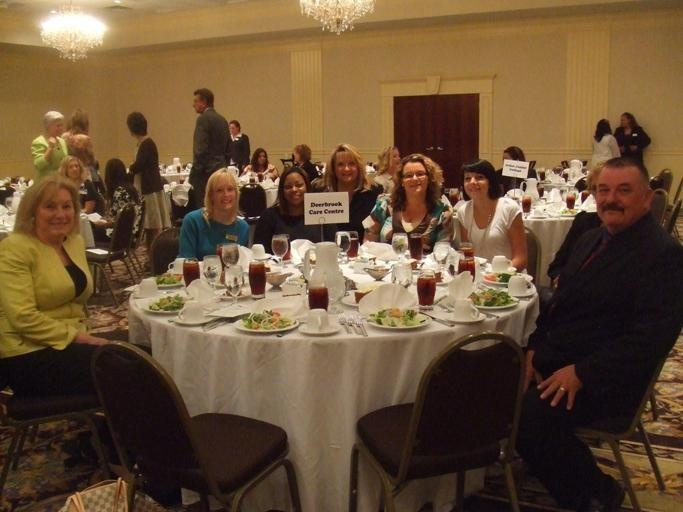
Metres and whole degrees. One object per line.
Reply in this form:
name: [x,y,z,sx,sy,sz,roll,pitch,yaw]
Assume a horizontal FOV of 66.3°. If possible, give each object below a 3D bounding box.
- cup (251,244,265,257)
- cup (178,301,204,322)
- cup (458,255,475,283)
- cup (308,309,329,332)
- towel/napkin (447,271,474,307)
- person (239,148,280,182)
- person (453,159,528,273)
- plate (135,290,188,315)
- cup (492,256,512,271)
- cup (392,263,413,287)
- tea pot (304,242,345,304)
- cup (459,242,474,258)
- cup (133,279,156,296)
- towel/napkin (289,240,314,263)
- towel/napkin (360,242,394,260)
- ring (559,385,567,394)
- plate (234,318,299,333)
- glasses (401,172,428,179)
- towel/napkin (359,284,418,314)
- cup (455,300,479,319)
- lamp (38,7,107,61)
cup: [-0.466,-0.035,2.898,0.063,0.066,0.067,0,12,0]
cup: [-0.624,0.232,2.189,0.101,0.080,0.069,-4,-8,13]
cup: [0.597,0.076,2.581,0.098,0.156,0.102,0,-1,0]
cup: [-0.092,0.253,2.080,0.077,0.079,0.070,0,9,0]
towel/napkin: [0.531,0.143,2.344,0.095,0.159,0.150,8,-6,10]
person: [-1.429,-1.460,9.284,0.502,0.783,0.469,-2,1,9]
person: [1.040,-0.244,3.862,0.575,0.960,0.530,-1,11,38]
plate: [-0.777,0.213,2.392,0.140,0.038,0.157,6,15,21]
cup: [0.892,0.045,2.888,0.088,0.087,0.068,0,5,-8]
cup: [0.293,0.091,2.509,0.095,0.145,0.104,0,4,0]
tea pot: [-0.081,0.085,2.340,0.154,0.334,0.232,9,13,39]
cup: [0.681,-0.029,2.839,0.088,0.093,0.090,1,2,0]
cup: [-0.971,0.162,2.615,0.108,0.086,0.069,-2,0,19]
towel/napkin: [-0.239,-0.033,3.105,0.122,0.055,0.150,-15,-15,-39]
towel/napkin: [0.231,-0.036,3.135,0.143,0.062,0.099,14,21,42]
ring: [0.913,0.551,2.151,0.013,0.017,0.042,-11,35,14]
plate: [-0.304,0.288,2.129,0.261,0.030,0.118,-1,9,-5]
glasses: [0.507,-0.550,3.579,0.146,0.045,0.048,1,9,5]
towel/napkin: [0.201,0.188,2.253,0.145,0.064,0.168,10,37,11]
cup: [0.512,0.227,2.158,0.062,0.095,0.096,-7,8,-44]
lamp: [-5.562,-4.615,10.751,0.811,1.206,0.822,33,39,30]
